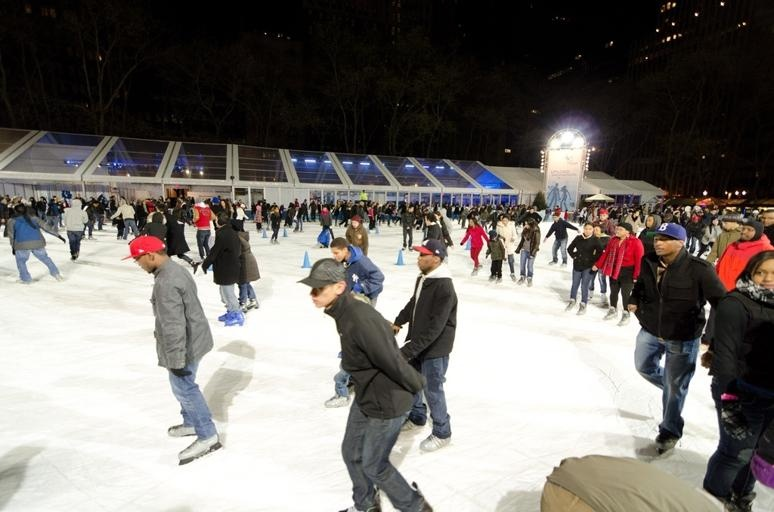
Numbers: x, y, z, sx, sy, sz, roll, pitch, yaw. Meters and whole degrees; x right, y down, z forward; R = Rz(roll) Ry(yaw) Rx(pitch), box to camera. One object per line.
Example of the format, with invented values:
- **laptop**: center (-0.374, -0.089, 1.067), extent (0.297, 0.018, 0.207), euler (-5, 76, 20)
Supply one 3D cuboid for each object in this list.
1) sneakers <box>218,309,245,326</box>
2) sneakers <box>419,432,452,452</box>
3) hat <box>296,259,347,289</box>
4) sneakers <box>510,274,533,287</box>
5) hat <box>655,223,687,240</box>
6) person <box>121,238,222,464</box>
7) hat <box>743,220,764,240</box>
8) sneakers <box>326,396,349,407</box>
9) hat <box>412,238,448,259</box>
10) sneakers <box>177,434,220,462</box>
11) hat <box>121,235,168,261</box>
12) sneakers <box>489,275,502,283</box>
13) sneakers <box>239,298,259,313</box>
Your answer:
- **sneakers**: center (-3.232, 1.291, 10.002), extent (0.481, 0.218, 0.262), euler (3, 21, -18)
- **sneakers**: center (0.700, 2.677, 6.898), extent (0.432, 0.178, 0.204), euler (2, -3, -15)
- **hat**: center (-0.755, 0.191, 5.597), extent (0.480, 0.230, 0.337), euler (-2, 5, -20)
- **sneakers**: center (3.768, 0.687, 13.454), extent (0.668, 0.272, 0.214), euler (7, 17, 29)
- **hat**: center (3.920, -0.364, 6.603), extent (0.243, 0.181, 0.344), euler (10, 10, 10)
- **person**: center (-2.846, 1.296, 6.588), extent (1.127, 3.089, 0.470), euler (4, 7, 5)
- **hat**: center (6.679, -0.466, 8.704), extent (0.383, 0.371, 0.165), euler (3, 7, 1)
- **sneakers**: center (-0.765, 2.286, 7.506), extent (0.320, 0.134, 0.170), euler (3, -3, -9)
- **hat**: center (0.598, -0.112, 6.610), extent (0.420, 0.165, 0.261), euler (11, 8, 4)
- **sneakers**: center (-2.602, 2.668, 6.784), extent (0.645, 0.236, 0.221), euler (-15, 10, -27)
- **hat**: center (-3.341, -0.116, 6.681), extent (0.435, 0.356, 0.801), euler (-1, 7, -27)
- **sneakers**: center (3.115, 0.655, 13.695), extent (0.234, 0.146, 0.400), euler (-1, -2, 6)
- **sneakers**: center (-3.082, 1.104, 10.772), extent (0.163, 0.205, 0.468), euler (-1, -5, 13)
